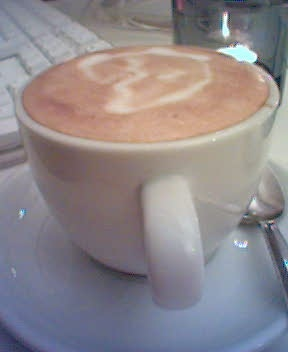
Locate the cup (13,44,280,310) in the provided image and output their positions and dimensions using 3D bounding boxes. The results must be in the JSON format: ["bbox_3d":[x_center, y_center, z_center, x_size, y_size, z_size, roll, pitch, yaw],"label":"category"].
[{"bbox_3d":[0.020,-0.028,0.402,0.264,0.181,0.278,-2,27,1],"label":"cup"}]
